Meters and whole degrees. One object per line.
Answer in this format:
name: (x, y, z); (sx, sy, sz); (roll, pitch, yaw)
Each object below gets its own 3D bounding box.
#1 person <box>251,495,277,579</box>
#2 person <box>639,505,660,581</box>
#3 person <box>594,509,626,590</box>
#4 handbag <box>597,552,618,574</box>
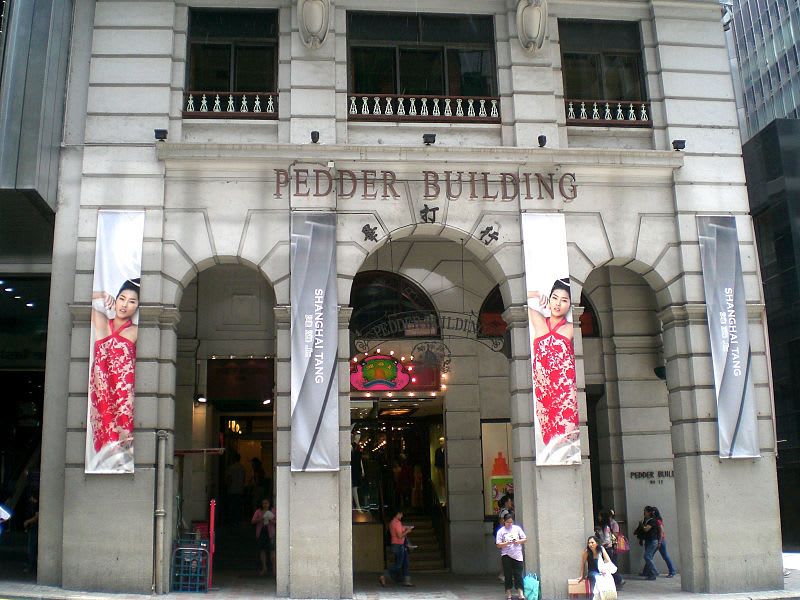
person: (-3.594, 6.211, 22.483); (0.529, 1.920, 1.325); (1, -13, -10)
person: (6.642, 6.402, 22.643); (0.583, 1.856, 0.683); (-2, -13, 4)
person: (5.294, 6.144, 21.498); (0.717, 1.771, 0.551); (-1, 11, 17)
handbag: (4.490, 5.710, 18.381); (0.296, 0.413, 0.432); (0, -35, 3)
